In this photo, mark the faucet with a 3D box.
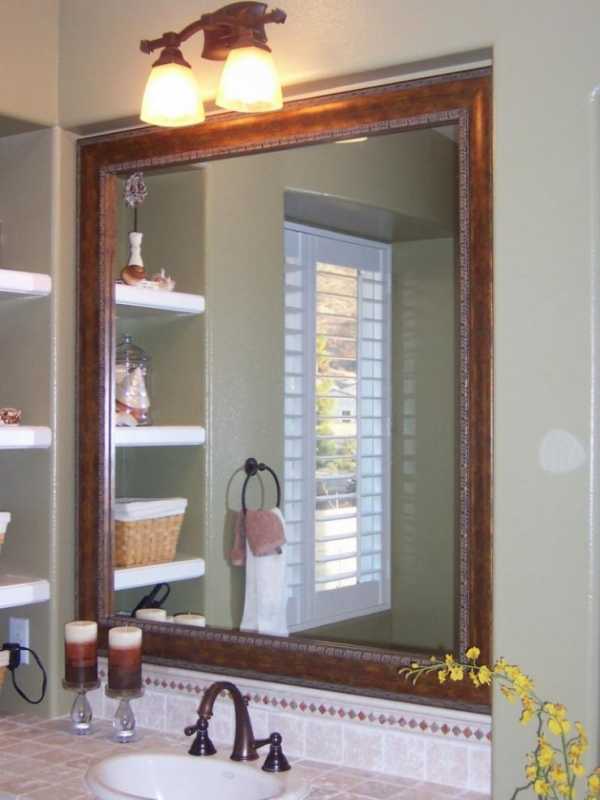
[{"bbox_3d":[-0.124,0.580,1.532,0.090,0.152,0.213,-1,-5,5],"label":"faucet"}]

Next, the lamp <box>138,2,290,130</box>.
[{"bbox_3d":[-0.151,-0.636,1.591,0.340,0.227,0.124,-4,-8,26],"label":"lamp"}]

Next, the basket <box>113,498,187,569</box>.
[{"bbox_3d":[-0.337,0.296,1.882,0.162,0.127,0.183,-5,-10,24],"label":"basket"}]

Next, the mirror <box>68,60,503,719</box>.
[{"bbox_3d":[-0.097,-0.084,1.708,1.038,1.125,0.219,-5,-7,43],"label":"mirror"}]
